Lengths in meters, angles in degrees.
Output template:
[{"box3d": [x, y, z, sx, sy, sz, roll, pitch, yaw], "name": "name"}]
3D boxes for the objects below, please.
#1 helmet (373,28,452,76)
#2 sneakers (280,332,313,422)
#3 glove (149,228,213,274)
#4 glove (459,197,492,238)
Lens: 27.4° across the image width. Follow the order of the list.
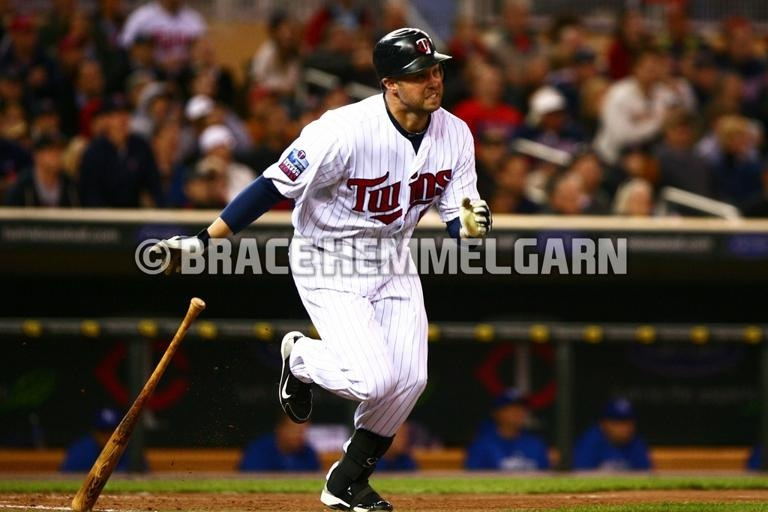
[{"box3d": [0.185, -1.422, 10.865, 0.573, 0.301, 0.444, -8, 6, 45], "name": "helmet"}, {"box3d": [-0.650, 0.828, 11.241, 0.206, 0.680, 0.252, 1, 3, -26], "name": "sneakers"}, {"box3d": [-1.346, -0.046, 10.779, 0.383, 0.336, 0.356, 4, 13, 10], "name": "glove"}, {"box3d": [0.627, -0.273, 10.709, 0.211, 0.312, 0.224, 2, 12, 4], "name": "glove"}]
